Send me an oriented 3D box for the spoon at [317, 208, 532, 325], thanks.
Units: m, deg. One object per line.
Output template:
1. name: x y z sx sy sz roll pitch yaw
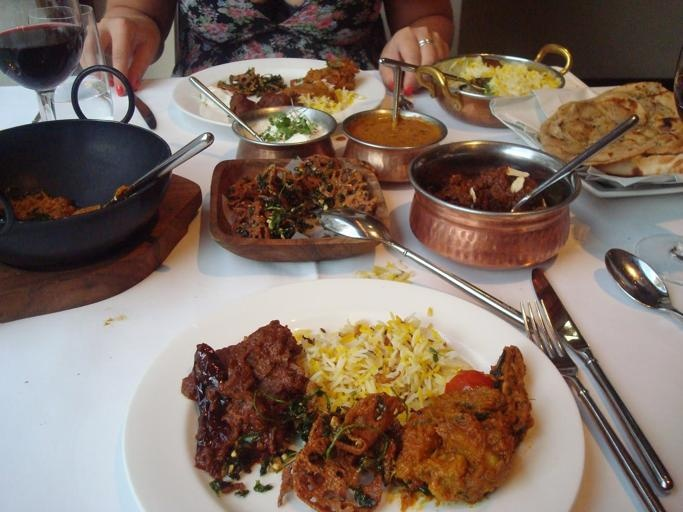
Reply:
1. spoon: 0.259 0.036 1.695 0.480 0.053 0.088 36 29 6
